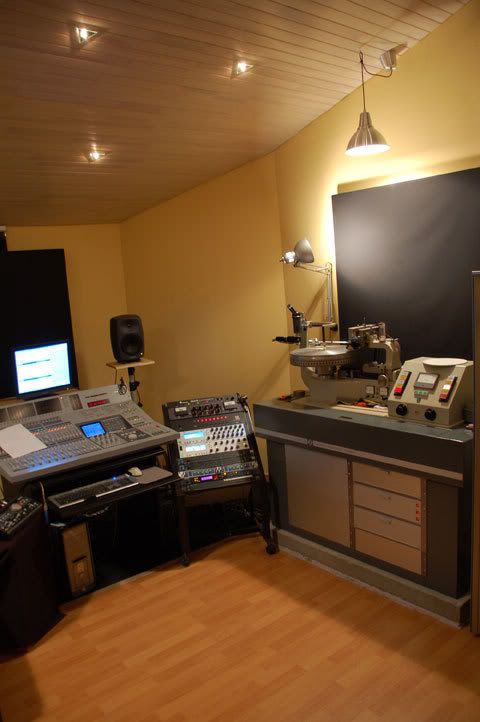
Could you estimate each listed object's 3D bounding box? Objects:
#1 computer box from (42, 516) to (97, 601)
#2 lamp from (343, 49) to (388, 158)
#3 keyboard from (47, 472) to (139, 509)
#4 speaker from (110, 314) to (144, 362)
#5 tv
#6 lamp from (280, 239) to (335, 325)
[{"bbox_3d":[-0.815,0.967,2.460,0.199,0.315,0.219,-6,3,-21],"label":"computer box"},{"bbox_3d":[0.644,-1.235,2.516,0.225,0.479,0.501,-3,3,17],"label":"lamp"},{"bbox_3d":[-0.698,0.623,2.406,0.138,0.048,0.263,4,14,39],"label":"keyboard"},{"bbox_3d":[-0.810,-0.161,3.636,0.211,0.236,0.104,-6,4,-25],"label":"speaker"},{"bbox_3d":[-1.334,0.068,3.407,0.359,0.366,0.136,-13,18,-43],"label":"tv"},{"bbox_3d":[0.429,-0.480,3.096,0.287,0.522,0.500,-4,3,12],"label":"lamp"}]
